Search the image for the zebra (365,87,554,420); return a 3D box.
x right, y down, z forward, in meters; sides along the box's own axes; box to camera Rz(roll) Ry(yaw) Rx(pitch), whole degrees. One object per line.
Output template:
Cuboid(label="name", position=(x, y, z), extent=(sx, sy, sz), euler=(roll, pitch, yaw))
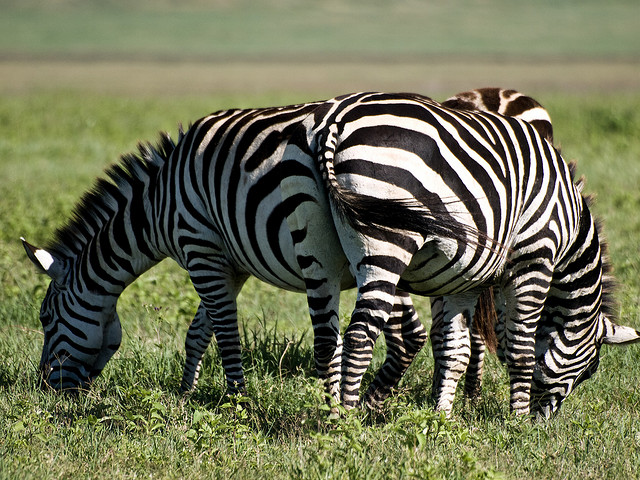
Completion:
Cuboid(label="zebra", position=(1.218, 0.085, 10.008), extent=(0.581, 2.771, 1.941), euler=(7, -21, 8))

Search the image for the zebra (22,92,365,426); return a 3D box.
Cuboid(label="zebra", position=(-0.794, 0.280, 10.616), extent=(4.267, 2.744, 1.317), euler=(-11, -3, 20))
